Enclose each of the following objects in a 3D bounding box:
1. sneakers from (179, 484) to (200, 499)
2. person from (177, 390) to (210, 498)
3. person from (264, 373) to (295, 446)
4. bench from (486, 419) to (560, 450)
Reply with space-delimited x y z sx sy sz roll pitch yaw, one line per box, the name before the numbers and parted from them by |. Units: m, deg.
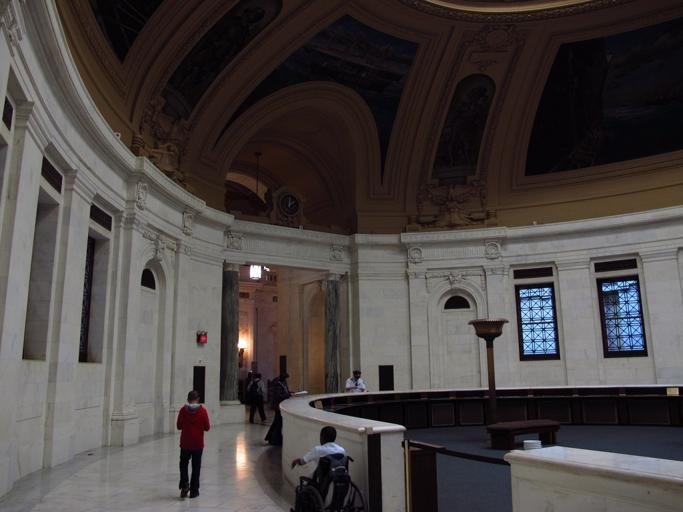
sneakers | -2.231 3.482 7.545 0.279 0.140 0.232 3 -9 -17
person | -2.264 2.824 7.767 0.459 1.511 0.444 2 -9 -17
person | -1.508 3.840 13.002 0.757 1.832 0.670 2 3 -10
bench | 3.889 3.818 10.895 1.463 0.588 0.848 5 -10 -28
